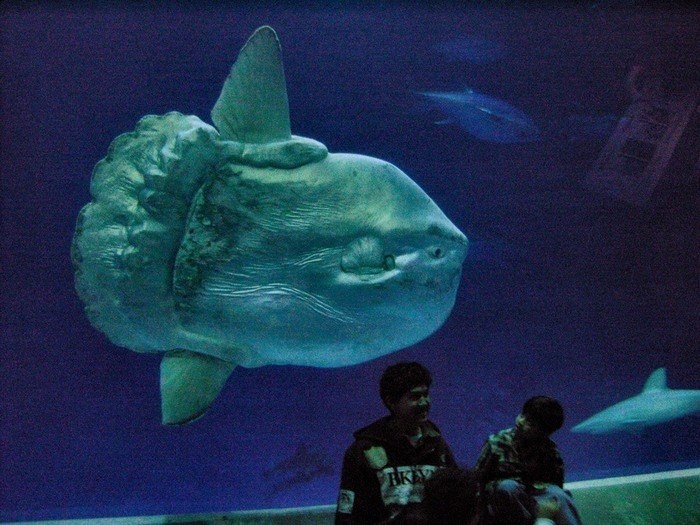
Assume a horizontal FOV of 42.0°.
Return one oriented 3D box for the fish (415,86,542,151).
[{"bbox_3d":[1.108,-1.114,7.147,1.145,0.269,0.242,13,-6,-8],"label":"fish"}]
